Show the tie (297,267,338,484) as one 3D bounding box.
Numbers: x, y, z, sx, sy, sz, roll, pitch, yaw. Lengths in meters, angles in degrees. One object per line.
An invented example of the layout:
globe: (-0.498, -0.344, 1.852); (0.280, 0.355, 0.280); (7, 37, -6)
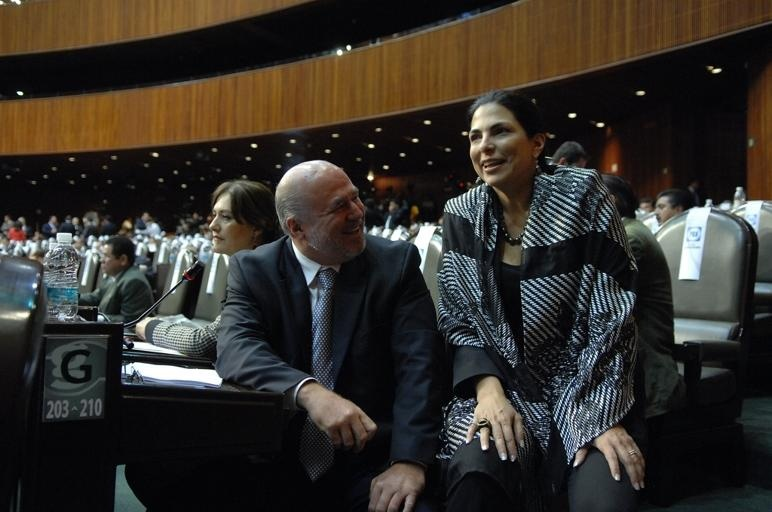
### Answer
tie: (-0.216, 0.371, 1.866); (0.112, 0.668, 0.094); (1, -4, -1)
